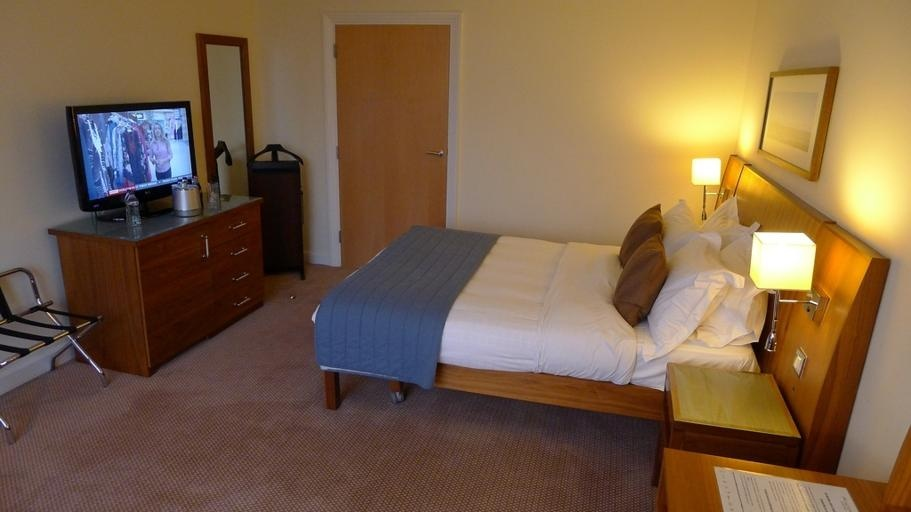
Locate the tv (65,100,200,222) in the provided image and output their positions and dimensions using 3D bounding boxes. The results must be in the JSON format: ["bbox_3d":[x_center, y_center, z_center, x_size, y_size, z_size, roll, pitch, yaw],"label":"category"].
[{"bbox_3d":[-2.945,-0.884,5.440,0.398,0.956,1.351,8,18,15],"label":"tv"}]

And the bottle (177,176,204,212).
[{"bbox_3d":[-2.422,-0.568,5.604,0.264,0.309,0.314,-4,18,-20],"label":"bottle"}]

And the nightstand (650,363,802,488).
[{"bbox_3d":[1.859,1.085,4.050,0.659,0.481,0.625,2,23,12],"label":"nightstand"}]

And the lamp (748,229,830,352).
[{"bbox_3d":[2.283,0.223,4.042,0.535,0.983,0.438,4,33,19],"label":"lamp"}]

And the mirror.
[{"bbox_3d":[-2.500,-1.458,6.533,0.068,1.831,0.698,16,27,20],"label":"mirror"}]

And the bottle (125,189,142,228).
[{"bbox_3d":[-2.834,-0.425,5.221,0.121,0.260,0.349,-10,25,-27],"label":"bottle"}]
